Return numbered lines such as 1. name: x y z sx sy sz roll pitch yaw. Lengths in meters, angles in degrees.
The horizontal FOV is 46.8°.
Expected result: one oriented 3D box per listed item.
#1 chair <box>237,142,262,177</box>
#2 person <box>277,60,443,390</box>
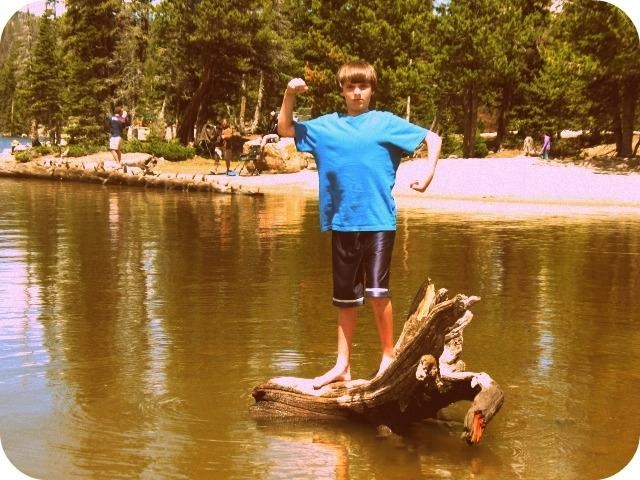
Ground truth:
1. chair: -3.645 -4.282 38.461 1.223 1.560 4.100 -3 6 -7
2. person: 0.308 -0.037 5.809 1.199 2.482 0.514 -2 5 -4
